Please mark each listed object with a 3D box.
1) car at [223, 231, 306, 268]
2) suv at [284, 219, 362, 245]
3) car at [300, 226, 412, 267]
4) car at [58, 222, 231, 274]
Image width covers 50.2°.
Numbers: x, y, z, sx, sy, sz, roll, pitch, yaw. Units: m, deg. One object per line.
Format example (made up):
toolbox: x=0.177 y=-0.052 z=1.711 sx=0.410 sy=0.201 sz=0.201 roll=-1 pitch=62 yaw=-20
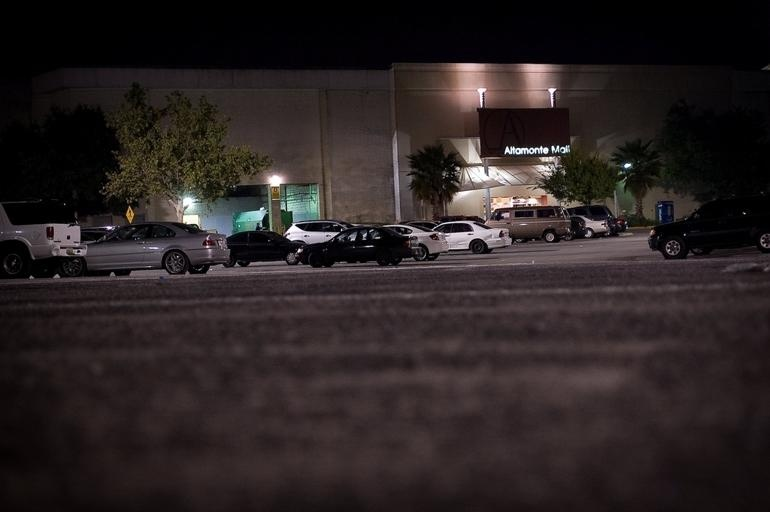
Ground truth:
car: x=-5.486 y=-0.324 z=37.621 sx=3.618 sy=1.588 sz=1.591 roll=0 pitch=1 yaw=5
suv: x=-3.577 y=-1.258 z=42.027 sx=3.172 sy=1.210 sz=1.553 roll=-3 pitch=2 yaw=7
car: x=-0.863 y=-0.338 z=30.901 sx=3.345 sy=1.248 sz=1.706 roll=1 pitch=0 yaw=18
car: x=-7.889 y=-0.043 z=27.564 sx=5.037 sy=1.870 sz=2.304 roll=1 pitch=-3 yaw=2
